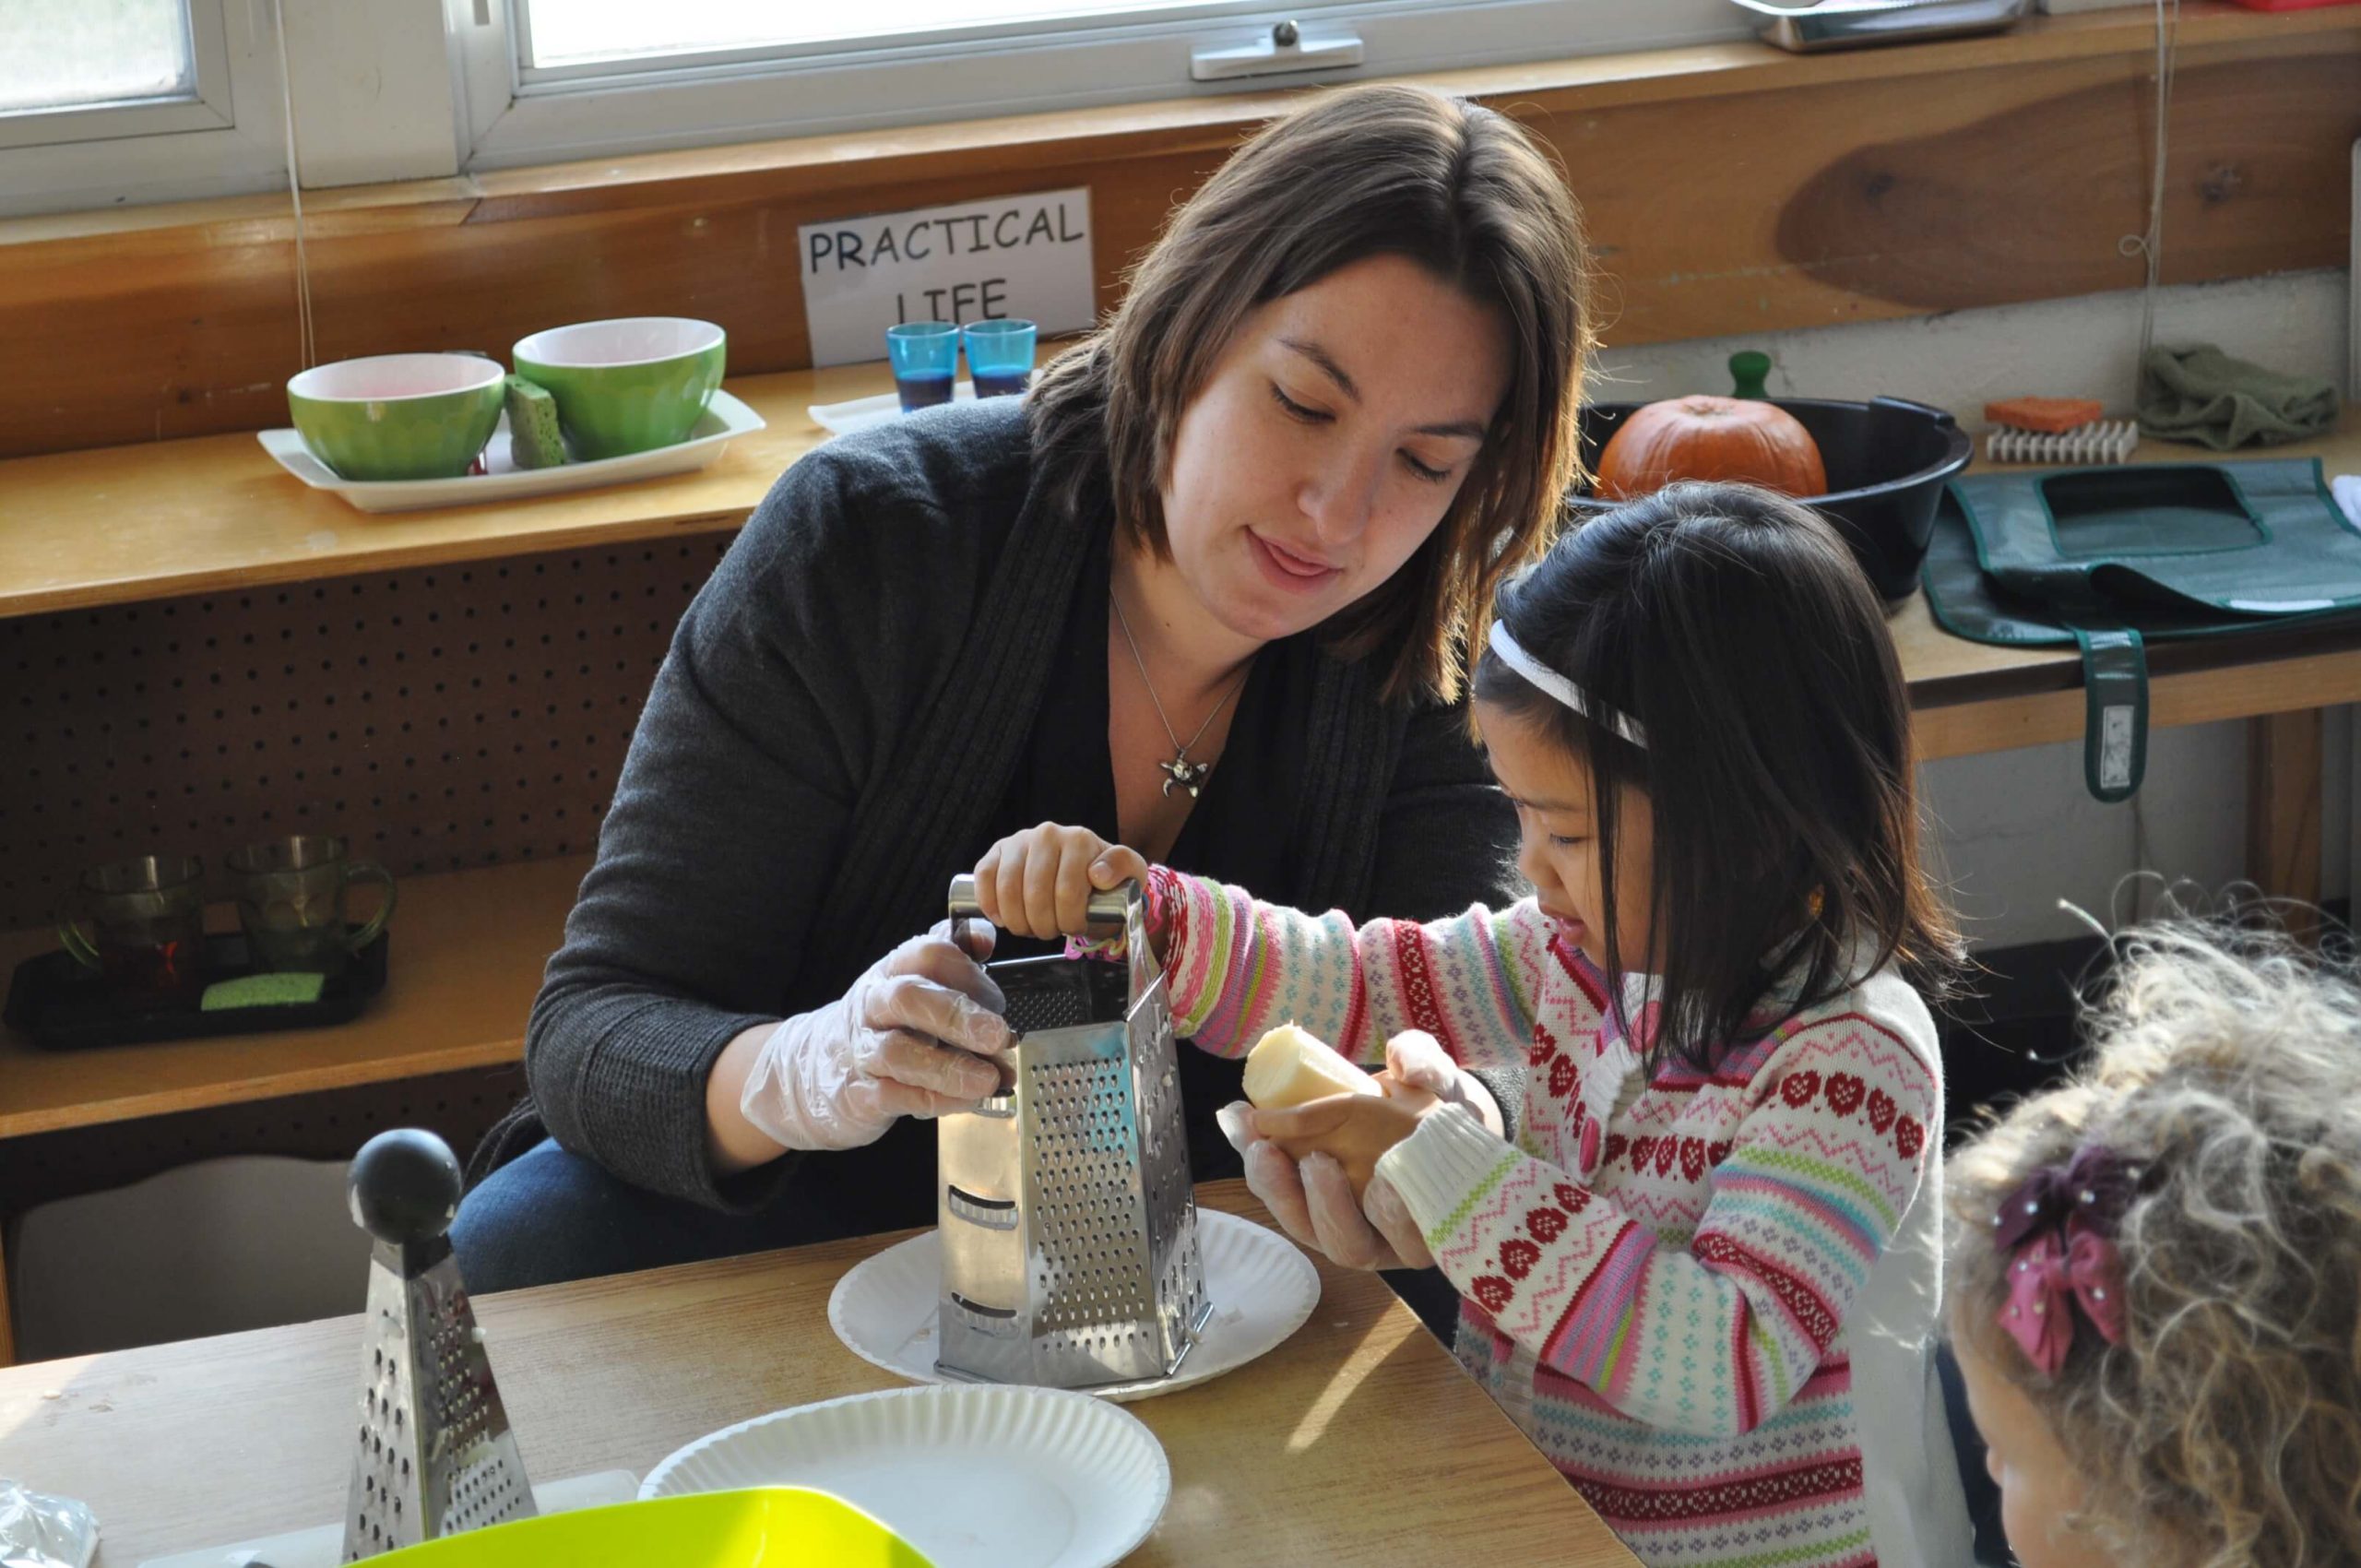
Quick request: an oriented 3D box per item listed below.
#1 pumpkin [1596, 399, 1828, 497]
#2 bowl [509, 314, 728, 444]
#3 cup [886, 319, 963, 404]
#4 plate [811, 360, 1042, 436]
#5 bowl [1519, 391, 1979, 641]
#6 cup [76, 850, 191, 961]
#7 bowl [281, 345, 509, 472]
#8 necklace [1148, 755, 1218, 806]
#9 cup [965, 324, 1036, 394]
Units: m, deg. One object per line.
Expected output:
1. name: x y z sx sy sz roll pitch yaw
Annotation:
1. pumpkin: 0.548 -0.348 2.007 0.171 0.155 0.168 2 10 20
2. bowl: -0.602 -0.420 2.004 0.196 0.114 0.192 14 27 -7
3. cup: -0.252 -0.447 2.043 0.082 0.094 0.072 2 21 3
4. plate: -0.274 -0.401 2.056 0.208 0.034 0.147 -9 11 -15
5. bowl: 0.608 -0.308 1.985 0.339 0.134 0.329 -1 18 0
6. cup: -1.055 0.126 1.988 0.086 0.105 0.112 4 6 -13
7. bowl: -0.795 -0.368 1.964 0.212 0.099 0.207 1 27 -1
8. necklace: 0.014 -0.001 1.529 0.035 0.033 0.011 18 1 -5
9. cup: -0.185 -0.444 2.076 0.090 0.084 0.064 1 22 -4
